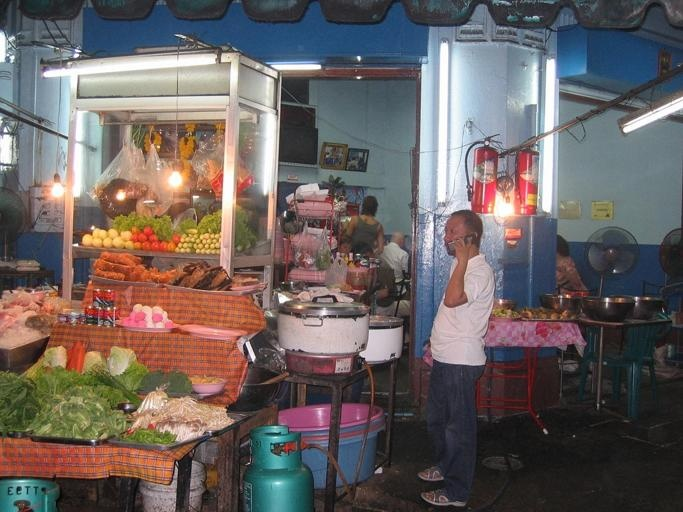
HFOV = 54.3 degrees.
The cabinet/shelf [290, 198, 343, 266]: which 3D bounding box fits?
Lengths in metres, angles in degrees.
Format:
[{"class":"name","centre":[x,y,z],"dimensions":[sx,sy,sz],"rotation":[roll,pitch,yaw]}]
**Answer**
[{"class":"cabinet/shelf","centre":[-0.328,-0.299,7.655],"dimensions":[0.548,0.789,0.570],"rotation":[1,8,-4]}]

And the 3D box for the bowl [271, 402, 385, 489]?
[{"class":"bowl","centre":[-0.044,1.543,5.604],"dimensions":[0.731,0.477,0.812],"rotation":[-3,-8,20]}]

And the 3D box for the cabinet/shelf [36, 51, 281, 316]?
[{"class":"cabinet/shelf","centre":[-1.929,-0.243,6.932],"dimensions":[1.890,2.955,1.667],"rotation":[6,-35,-23]}]

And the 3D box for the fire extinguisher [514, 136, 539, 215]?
[{"class":"fire extinguisher","centre":[2.065,-0.842,7.442],"dimensions":[0.292,0.768,0.239],"rotation":[-1,8,-14]}]

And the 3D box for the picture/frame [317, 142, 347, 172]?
[{"class":"picture/frame","centre":[-0.207,-1.787,12.004],"dimensions":[0.510,0.586,0.057],"rotation":[-1,-1,-27]}]

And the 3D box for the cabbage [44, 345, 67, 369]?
[{"class":"cabbage","centre":[-2.168,0.759,5.044],"dimensions":[0.169,0.209,0.055],"rotation":[-1,-8,11]}]

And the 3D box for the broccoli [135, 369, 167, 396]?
[{"class":"broccoli","centre":[-1.387,0.917,4.851],"dimensions":[0.151,0.185,0.042],"rotation":[23,-12,3]}]

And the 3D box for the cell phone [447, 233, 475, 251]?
[{"class":"cell phone","centre":[1.006,-0.127,5.548],"dimensions":[0.192,0.081,0.136],"rotation":[-23,-1,-39]}]

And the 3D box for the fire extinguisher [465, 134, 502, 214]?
[{"class":"fire extinguisher","centre":[1.561,-0.895,7.379],"dimensions":[0.401,0.885,0.448],"rotation":[1,8,-1]}]

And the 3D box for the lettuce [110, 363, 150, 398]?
[{"class":"lettuce","centre":[-1.519,0.894,4.822],"dimensions":[0.160,0.208,0.232],"rotation":[4,9,19]}]

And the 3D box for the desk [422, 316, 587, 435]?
[{"class":"desk","centre":[1.970,1.218,7.509],"dimensions":[1.651,1.278,1.256],"rotation":[0,-7,0]}]

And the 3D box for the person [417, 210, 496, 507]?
[{"class":"person","centre":[0.979,0.860,5.593],"dimensions":[0.506,2.450,0.443],"rotation":[3,8,13]}]

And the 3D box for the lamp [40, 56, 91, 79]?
[{"class":"lamp","centre":[-2.741,-1.887,6.647],"dimensions":[0.540,0.193,0.193],"rotation":[4,9,12]}]

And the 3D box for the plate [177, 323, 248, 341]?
[{"class":"plate","centre":[-1.036,0.577,5.168],"dimensions":[0.541,0.096,0.254],"rotation":[3,9,6]}]

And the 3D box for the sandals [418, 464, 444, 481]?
[{"class":"sandals","centre":[0.807,1.954,6.025],"dimensions":[0.240,0.115,0.120],"rotation":[2,1,-5]}]

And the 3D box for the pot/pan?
[{"class":"pot/pan","centre":[-0.037,0.552,5.198],"dimensions":[0.822,0.334,0.525],"rotation":[2,0,-1]}]

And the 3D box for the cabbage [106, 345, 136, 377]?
[{"class":"cabbage","centre":[-1.649,0.770,4.941],"dimensions":[0.170,0.214,0.060],"rotation":[8,-15,2]}]

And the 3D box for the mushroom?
[{"class":"mushroom","centre":[-1.083,1.061,4.397],"dimensions":[0.346,0.120,0.365],"rotation":[5,4,5]}]

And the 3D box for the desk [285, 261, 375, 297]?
[{"class":"desk","centre":[-0.116,0.224,7.325],"dimensions":[0.886,0.358,0.831],"rotation":[2,9,1]}]

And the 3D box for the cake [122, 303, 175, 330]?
[{"class":"cake","centre":[-1.492,0.485,5.163],"dimensions":[0.237,0.089,0.253],"rotation":[4,0,4]}]

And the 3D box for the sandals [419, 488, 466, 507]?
[{"class":"sandals","centre":[0.853,2.020,5.594],"dimensions":[0.363,0.154,0.153],"rotation":[4,2,6]}]
